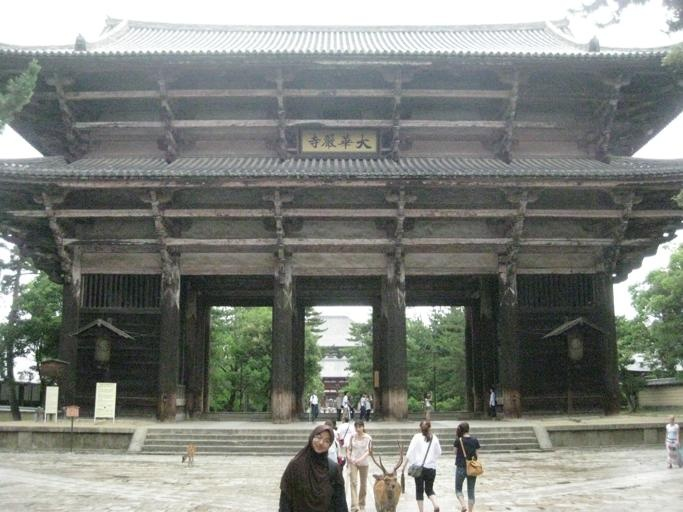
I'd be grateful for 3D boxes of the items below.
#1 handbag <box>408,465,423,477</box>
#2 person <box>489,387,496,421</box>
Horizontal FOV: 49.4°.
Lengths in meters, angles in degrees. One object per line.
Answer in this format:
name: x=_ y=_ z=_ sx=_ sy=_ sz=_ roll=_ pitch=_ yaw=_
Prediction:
handbag: x=1.724 y=5.072 z=17.469 sx=0.332 sy=0.292 sz=0.240 roll=-2 pitch=-10 yaw=1
person: x=5.921 y=5.726 z=29.055 sx=0.276 sy=1.221 sz=0.830 roll=-4 pitch=-16 yaw=9
